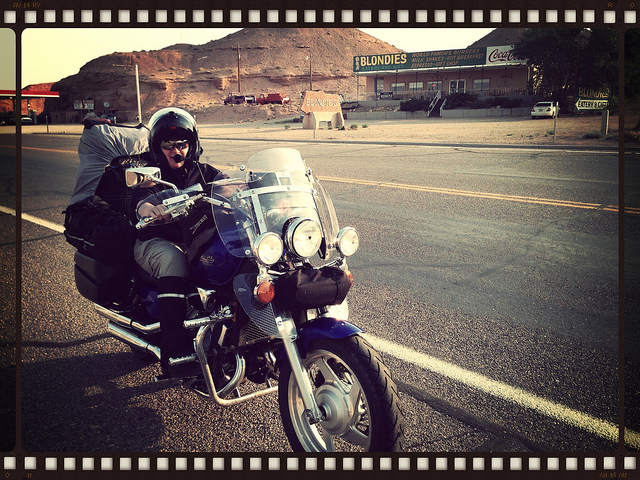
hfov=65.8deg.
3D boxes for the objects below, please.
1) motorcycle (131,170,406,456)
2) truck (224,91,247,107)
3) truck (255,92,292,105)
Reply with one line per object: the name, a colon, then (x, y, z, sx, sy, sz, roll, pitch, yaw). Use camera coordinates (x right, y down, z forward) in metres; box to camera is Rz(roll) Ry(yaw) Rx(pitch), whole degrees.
motorcycle: (-0.250, 0.542, 3.502, 1.822, 1.992, 0.542, 7, 15, 29)
truck: (-13.427, -22.416, 79.091, 3.214, 1.562, 1.888, 2, 13, 8)
truck: (-7.428, -22.804, 80.046, 5.070, 2.061, 6.738, 2, 13, 10)
